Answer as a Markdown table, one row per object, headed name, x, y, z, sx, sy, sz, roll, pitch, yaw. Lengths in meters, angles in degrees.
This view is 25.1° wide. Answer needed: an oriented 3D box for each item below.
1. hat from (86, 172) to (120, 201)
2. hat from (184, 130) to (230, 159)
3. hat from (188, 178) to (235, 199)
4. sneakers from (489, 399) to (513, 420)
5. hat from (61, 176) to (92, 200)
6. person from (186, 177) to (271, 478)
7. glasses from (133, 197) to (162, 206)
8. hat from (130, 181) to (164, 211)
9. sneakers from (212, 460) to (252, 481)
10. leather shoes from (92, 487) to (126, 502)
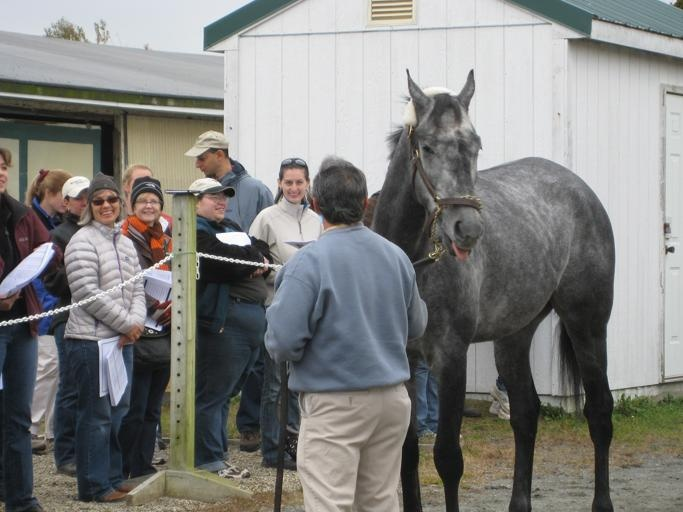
| name | x | y | z | sx | sy | sz | roll | pitch | yaw |
| --- | --- | --- | --- | --- | --- | --- | --- | --- | --- |
| hat | -2.176 | -0.675 | 14.078 | 0.185 | 0.273 | 0.281 | -7 | -14 | -8 |
| hat | -1.311 | -1.147 | 15.406 | 0.369 | 0.258 | 0.264 | -3 | 7 | -16 |
| hat | -1.261 | -0.650 | 14.377 | 0.199 | 0.144 | 0.311 | 2 | -6 | -37 |
| sneakers | 1.716 | 1.696 | 16.740 | 0.116 | 0.250 | 0.348 | 2 | -7 | -19 |
| hat | -2.560 | -0.690 | 14.769 | 0.191 | 0.170 | 0.282 | -7 | -8 | -31 |
| person | -1.056 | 0.693 | 14.341 | 0.713 | 2.131 | 0.681 | 0 | 0 | -10 |
| glasses | -1.814 | -0.513 | 14.436 | 0.282 | 0.091 | 0.194 | 1 | 1 | -11 |
| hat | -1.822 | -0.574 | 14.457 | 0.211 | 0.215 | 0.236 | 0 | -2 | -11 |
| sneakers | -1.018 | 2.053 | 14.504 | 0.352 | 0.201 | 0.143 | -1 | 3 | 17 |
| leather shoes | -2.095 | 2.198 | 13.901 | 0.281 | 0.142 | 0.113 | -9 | 2 | -8 |
